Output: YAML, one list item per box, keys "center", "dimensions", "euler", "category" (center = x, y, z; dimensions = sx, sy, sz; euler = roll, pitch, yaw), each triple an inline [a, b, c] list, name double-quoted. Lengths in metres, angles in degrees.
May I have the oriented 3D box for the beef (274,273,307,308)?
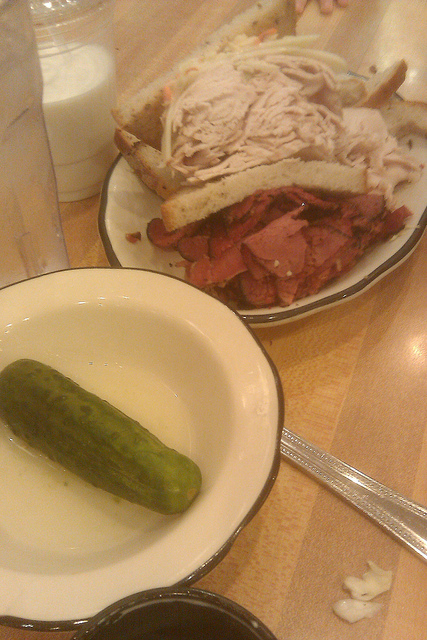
- center: [0.079, -0.030, 0.534]
  dimensions: [0.032, 0.030, 0.009]
  euler: [2, 4, -7]
  category: "beef"

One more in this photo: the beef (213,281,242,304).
- center: [0.015, -0.029, 0.556]
  dimensions: [0.026, 0.025, 0.008]
  euler: [-8, 6, 26]
  category: "beef"

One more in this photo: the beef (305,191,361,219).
- center: [0.129, -0.112, 0.543]
  dimensions: [0.049, 0.020, 0.064]
  euler: [14, 19, 40]
  category: "beef"

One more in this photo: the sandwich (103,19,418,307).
- center: [0.061, -0.156, 0.549]
  dimensions: [0.309, 0.195, 0.230]
  euler: [-7, 51, -10]
  category: "sandwich"

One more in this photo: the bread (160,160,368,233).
- center: [0.050, -0.124, 0.538]
  dimensions: [0.201, 0.066, 0.028]
  euler: [-2, 51, -6]
  category: "bread"

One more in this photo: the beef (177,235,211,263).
- center: [-0.021, -0.073, 0.559]
  dimensions: [0.035, 0.028, 0.018]
  euler: [11, 51, 5]
  category: "beef"

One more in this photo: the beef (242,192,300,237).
- center: [0.051, -0.115, 0.578]
  dimensions: [0.061, 0.032, 0.085]
  euler: [-9, 29, -9]
  category: "beef"

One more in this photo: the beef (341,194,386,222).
- center: [0.153, -0.114, 0.549]
  dimensions: [0.032, 0.031, 0.007]
  euler: [-30, 22, -1]
  category: "beef"
